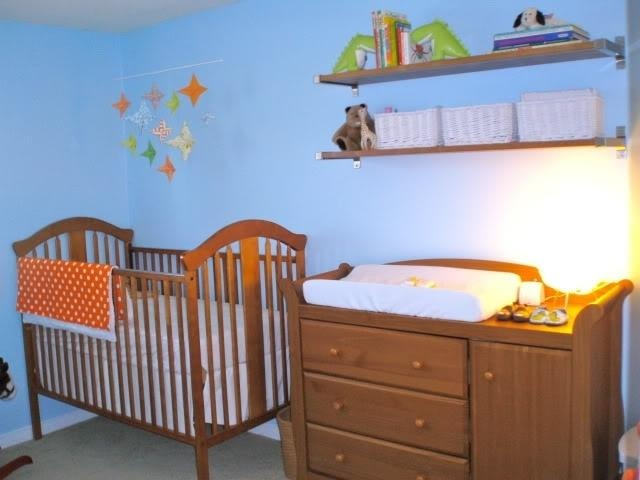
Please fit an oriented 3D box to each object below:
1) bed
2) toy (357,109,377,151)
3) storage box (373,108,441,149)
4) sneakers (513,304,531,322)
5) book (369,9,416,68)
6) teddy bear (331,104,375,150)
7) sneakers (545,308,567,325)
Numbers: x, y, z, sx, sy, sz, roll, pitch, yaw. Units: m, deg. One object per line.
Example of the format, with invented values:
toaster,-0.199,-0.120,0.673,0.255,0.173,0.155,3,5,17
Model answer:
bed,-0.918,0.570,3.668,1.950,1.442,1.162,4,12,38
toy,0.255,-0.595,3.110,0.077,0.221,0.106,-4,9,-4
storage box,0.446,-0.566,2.979,0.361,0.193,0.077,5,12,40
sneakers,0.902,0.325,2.595,0.049,0.054,0.137,1,7,28
book,0.366,-1.011,2.935,0.190,0.283,0.132,-2,9,6
teddy bear,0.196,-0.604,3.176,0.256,0.249,0.178,-4,16,21
sneakers,1.019,0.333,2.503,0.073,0.055,0.131,4,11,39
